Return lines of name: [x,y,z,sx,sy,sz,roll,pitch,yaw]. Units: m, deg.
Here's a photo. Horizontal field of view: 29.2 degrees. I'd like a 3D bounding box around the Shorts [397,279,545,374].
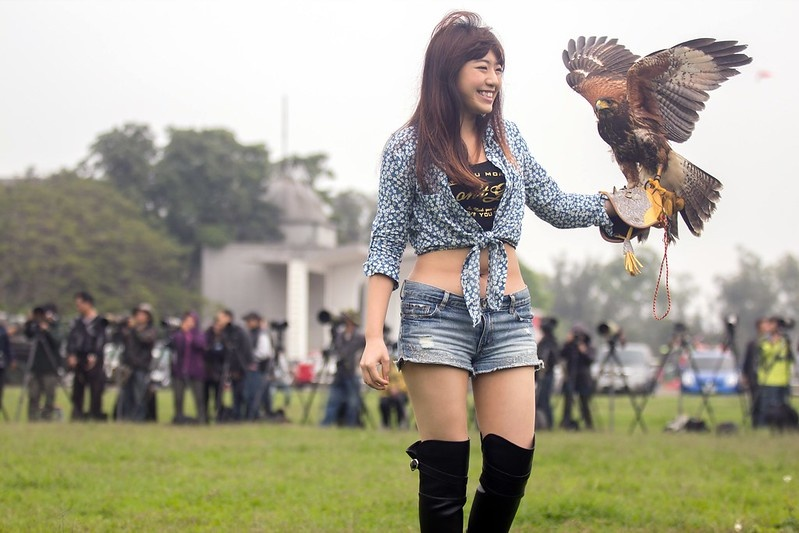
Shorts: [0.386,0.408,9.172,0.898,0.542,0.530,4,-14,-10]
